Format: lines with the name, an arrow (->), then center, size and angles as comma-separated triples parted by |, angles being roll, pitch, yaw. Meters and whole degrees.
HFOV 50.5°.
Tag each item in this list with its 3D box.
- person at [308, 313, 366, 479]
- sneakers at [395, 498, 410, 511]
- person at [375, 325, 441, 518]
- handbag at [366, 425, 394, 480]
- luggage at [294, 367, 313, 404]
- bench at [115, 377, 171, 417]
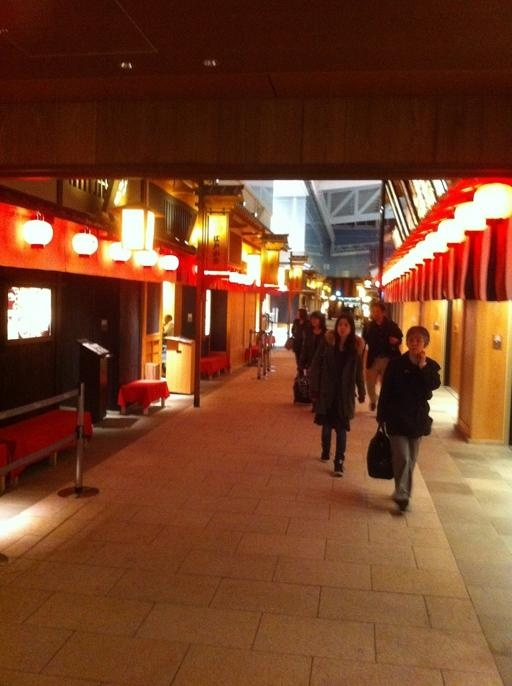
person -> 1.023, 0.614, 6.792 | 0.636, 1.968, 0.893 | 1, 2, 12
sneakers -> 1.441, 1.580, 5.362 | 0.131, 0.153, 0.136 | -1, 3, -2
person -> 1.470, 0.758, 5.303 | 0.579, 1.824, 0.344 | 1, 2, 19
handbag -> 1.255, 1.021, 5.564 | 0.226, 0.679, 0.562 | 2, 10, 9
luggage -> 0.932, 0.912, 11.024 | 0.454, 0.747, 0.701 | 1, -8, 0
bench -> -2.197, 1.049, 10.406 | 0.672, 0.574, 0.938 | 1, 2, 9
